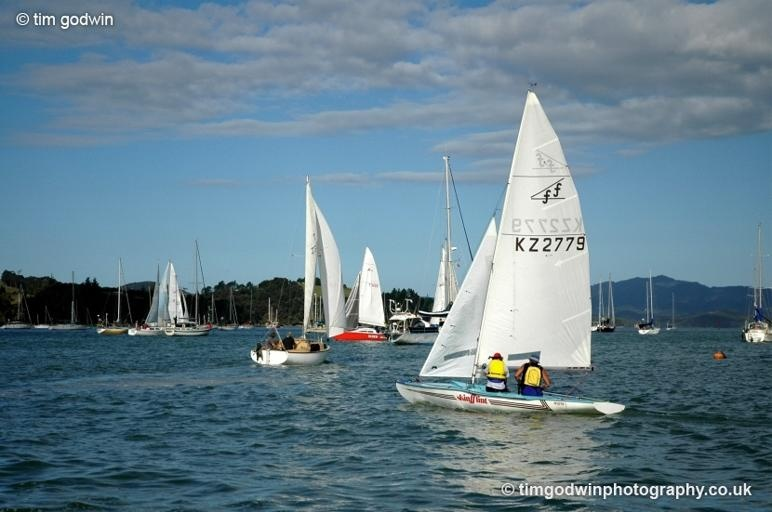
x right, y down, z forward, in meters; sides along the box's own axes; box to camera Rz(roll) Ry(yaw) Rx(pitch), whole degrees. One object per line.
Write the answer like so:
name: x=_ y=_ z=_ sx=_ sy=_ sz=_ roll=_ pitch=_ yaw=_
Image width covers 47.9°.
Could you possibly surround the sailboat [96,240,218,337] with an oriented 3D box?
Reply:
sailboat: x=-27.208 y=5.683 z=110.486 sx=8.099 sy=8.968 sz=6.615 roll=-2 pitch=-6 yaw=29
